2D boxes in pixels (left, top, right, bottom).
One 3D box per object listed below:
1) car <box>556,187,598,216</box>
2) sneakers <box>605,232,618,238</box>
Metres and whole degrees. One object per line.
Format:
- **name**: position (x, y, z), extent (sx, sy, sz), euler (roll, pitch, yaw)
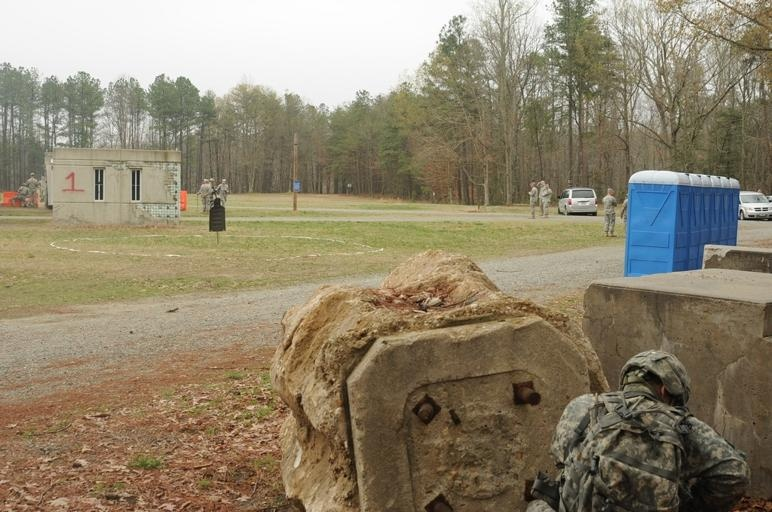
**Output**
- **car**: position (11.114, -3.264, 45.825), extent (1.307, 1.177, 2.327), euler (-1, 11, -1)
- **sneakers**: position (8.899, -0.863, 30.682), extent (0.626, 0.286, 0.193), euler (-6, 7, -31)
